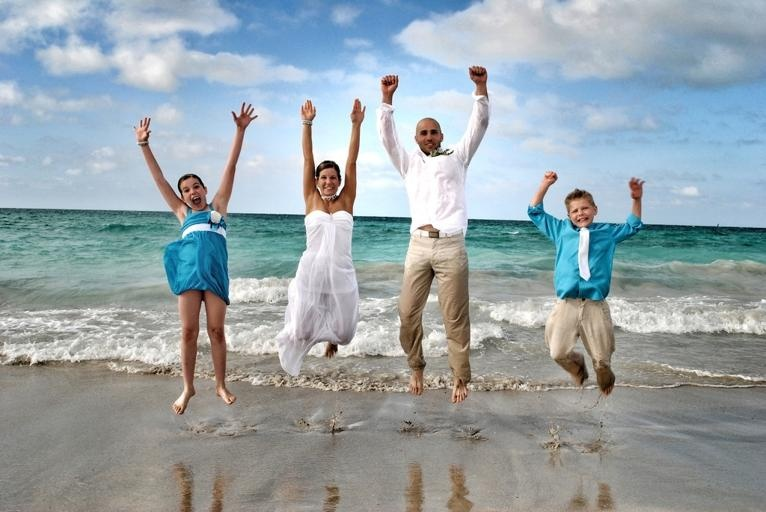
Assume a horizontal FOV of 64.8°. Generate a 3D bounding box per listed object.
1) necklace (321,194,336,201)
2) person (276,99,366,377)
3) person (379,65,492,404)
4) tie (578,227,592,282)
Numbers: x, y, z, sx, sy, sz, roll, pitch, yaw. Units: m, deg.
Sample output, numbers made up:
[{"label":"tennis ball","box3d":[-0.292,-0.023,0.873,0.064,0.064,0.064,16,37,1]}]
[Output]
[{"label":"necklace","box3d":[-0.653,-0.701,7.332,0.091,0.039,0.103,4,-31,-21]},{"label":"person","box3d":[-0.742,-0.205,7.260,0.952,3.351,0.364,0,3,-8]},{"label":"person","box3d":[0.597,-0.264,7.387,1.262,4.053,0.444,1,3,9]},{"label":"tie","box3d":[2.358,-0.009,7.088,0.153,0.595,0.089,2,3,14]}]
